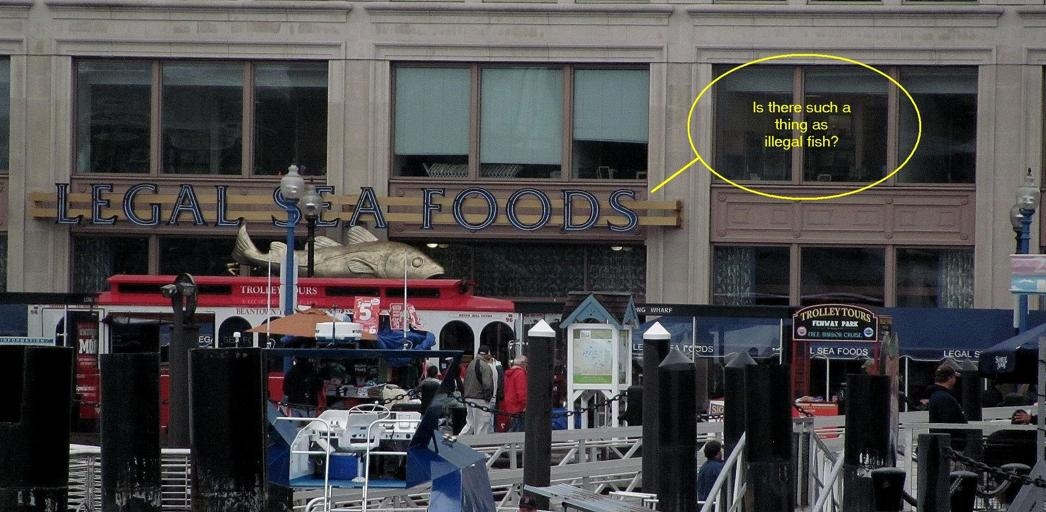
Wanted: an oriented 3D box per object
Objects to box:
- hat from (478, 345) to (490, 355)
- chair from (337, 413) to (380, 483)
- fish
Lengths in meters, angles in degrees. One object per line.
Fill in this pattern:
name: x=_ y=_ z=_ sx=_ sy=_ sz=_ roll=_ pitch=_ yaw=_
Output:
hat: x=-1.435 y=3.205 z=96.816 sx=0.325 sy=0.291 sz=0.371 roll=2 pitch=7 yaw=4
chair: x=-5.340 y=6.085 z=88.504 sx=1.192 sy=2.257 sz=0.935 roll=1 pitch=1 yaw=5
fish: x=-6.938 y=-0.185 z=102.552 sx=7.523 sy=1.934 sz=0.905 roll=6 pitch=-22 yaw=6
